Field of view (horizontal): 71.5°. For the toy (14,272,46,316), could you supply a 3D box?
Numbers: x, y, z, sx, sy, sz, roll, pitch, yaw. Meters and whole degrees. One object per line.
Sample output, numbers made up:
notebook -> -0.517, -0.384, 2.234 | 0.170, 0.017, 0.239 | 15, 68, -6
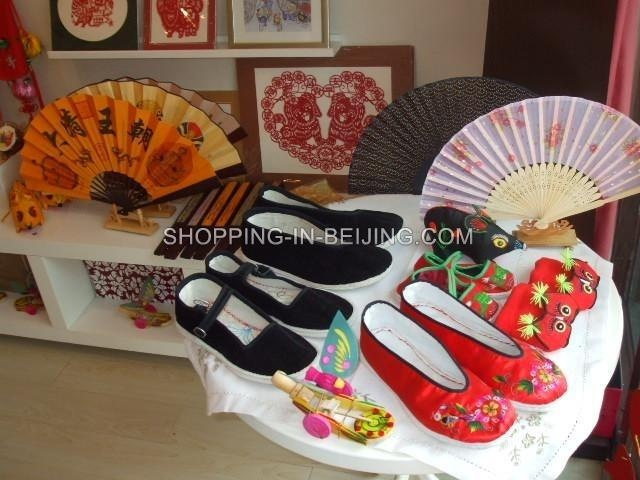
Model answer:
toy -> -1.318, 0.251, 2.029 | 0.123, 0.074, 0.203 | -2, 39, -19

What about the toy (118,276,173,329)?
toy -> -0.734, 0.233, 1.920 | 0.257, 0.241, 0.151 | -4, 28, -30

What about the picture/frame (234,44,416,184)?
picture/frame -> 0.029, -0.456, 1.538 | 0.572, 0.387, 0.070 | 0, 34, 6

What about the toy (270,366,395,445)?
toy -> 0.022, 0.355, 0.944 | 0.249, 0.109, 0.105 | 20, 51, 14
